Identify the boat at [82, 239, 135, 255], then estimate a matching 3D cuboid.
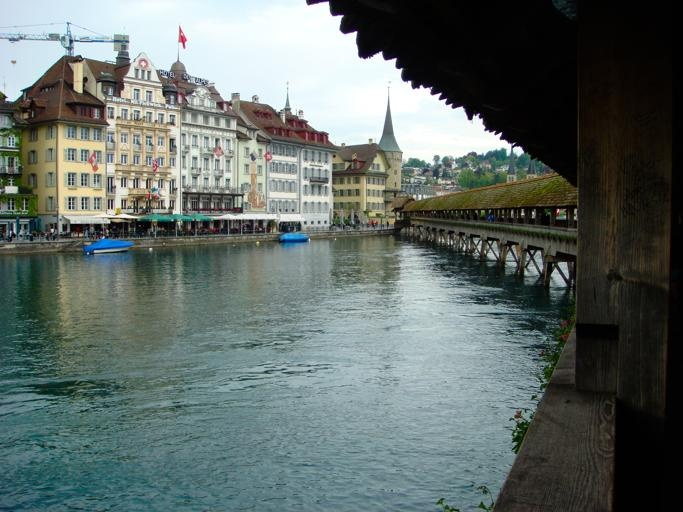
[{"bbox_3d":[-21.166,-0.730,57.464,1.561,1.266,4.273,3,6,37],"label":"boat"}]
